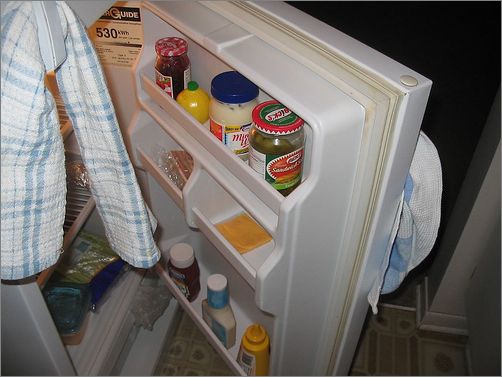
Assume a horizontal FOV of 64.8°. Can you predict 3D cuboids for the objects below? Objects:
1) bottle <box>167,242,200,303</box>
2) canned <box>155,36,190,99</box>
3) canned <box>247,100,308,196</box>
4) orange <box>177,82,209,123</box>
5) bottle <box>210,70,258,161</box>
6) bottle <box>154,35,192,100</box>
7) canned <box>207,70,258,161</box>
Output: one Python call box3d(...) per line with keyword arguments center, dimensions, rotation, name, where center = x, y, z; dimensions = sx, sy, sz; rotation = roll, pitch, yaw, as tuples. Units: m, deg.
box3d(center=(-0.257, 0.317, 1.492), dimensions=(0.142, 0.235, 0.100), rotation=(32, 53, 29), name="bottle")
box3d(center=(-0.240, -0.362, 1.191), dimensions=(0.099, 0.171, 0.101), rotation=(29, 55, 18), name="canned")
box3d(center=(0.063, -0.102, 1.017), dimensions=(0.136, 0.223, 0.142), rotation=(14, 47, 14), name="canned")
box3d(center=(-0.177, -0.253, 1.170), dimensions=(0.085, 0.084, 0.085), rotation=(-34, 54, -25), name="orange")
box3d(center=(-0.042, -0.189, 1.022), dimensions=(0.129, 0.203, 0.128), rotation=(3, 46, -3), name="bottle")
box3d(center=(-0.239, -0.360, 1.192), dimensions=(0.105, 0.181, 0.107), rotation=(2, 52, -3), name="bottle")
box3d(center=(-0.045, -0.188, 1.026), dimensions=(0.129, 0.204, 0.129), rotation=(-26, 54, -27), name="canned")
